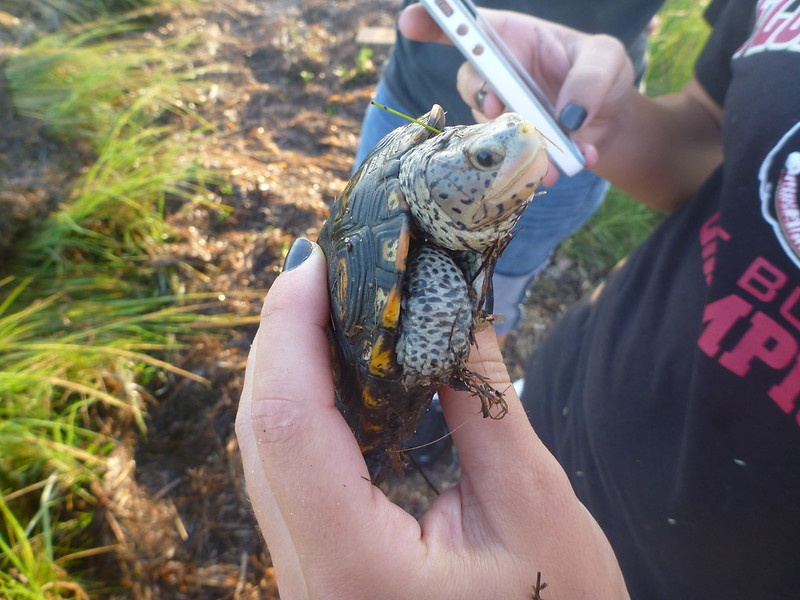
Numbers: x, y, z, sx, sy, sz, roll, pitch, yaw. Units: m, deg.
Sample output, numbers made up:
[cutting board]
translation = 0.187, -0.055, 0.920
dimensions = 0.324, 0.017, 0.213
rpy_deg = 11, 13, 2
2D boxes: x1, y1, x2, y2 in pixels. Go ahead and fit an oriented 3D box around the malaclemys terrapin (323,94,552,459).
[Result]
[malaclemys terrapin]
translation = 0.083, -0.056, 2.963
dimensions = 0.694, 1.009, 0.916
rpy_deg = 12, 52, 8
